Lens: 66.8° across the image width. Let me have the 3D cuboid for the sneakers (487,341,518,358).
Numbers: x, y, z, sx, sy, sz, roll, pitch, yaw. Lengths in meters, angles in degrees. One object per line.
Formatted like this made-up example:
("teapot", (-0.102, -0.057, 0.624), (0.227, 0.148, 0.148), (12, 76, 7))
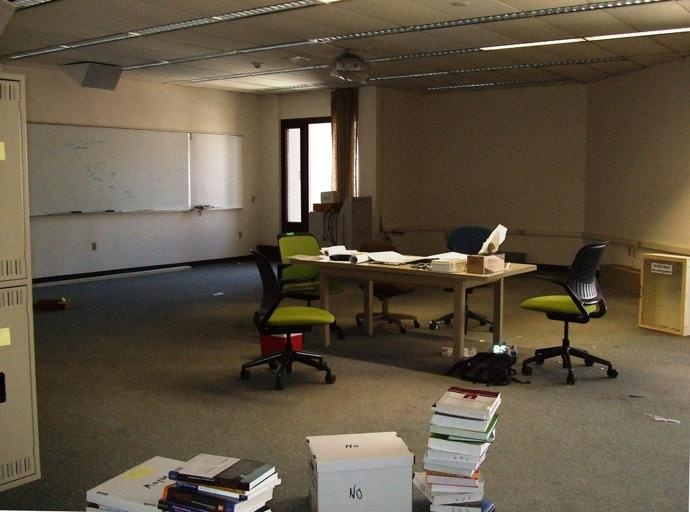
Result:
("sneakers", (1.429, 0.841, 4.670), (0.185, 0.097, 0.325), (7, 7, 38))

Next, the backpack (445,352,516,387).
("backpack", (1.231, 0.929, 4.477), (0.366, 0.117, 0.357), (-4, 3, -43))

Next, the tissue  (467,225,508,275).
("tissue ", (1.482, -0.067, 5.509), (0.250, 0.583, 0.712), (3, 7, 42))

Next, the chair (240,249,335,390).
("chair", (-0.766, 0.528, 4.827), (1.152, 1.286, 1.090), (-1, 1, 7))
